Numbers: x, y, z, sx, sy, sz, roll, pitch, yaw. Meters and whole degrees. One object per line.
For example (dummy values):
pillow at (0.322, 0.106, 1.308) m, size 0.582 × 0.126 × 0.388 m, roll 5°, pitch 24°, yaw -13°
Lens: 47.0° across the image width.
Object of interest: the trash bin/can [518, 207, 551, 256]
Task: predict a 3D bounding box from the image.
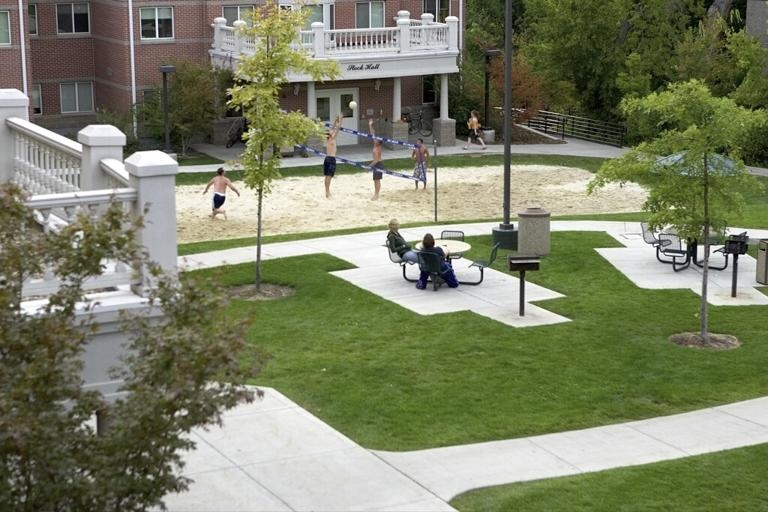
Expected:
trash bin/can at (3.888, -0.630, 22.777) m, size 0.823 × 1.250 × 0.421 m, roll -1°, pitch 8°, yaw 3°
